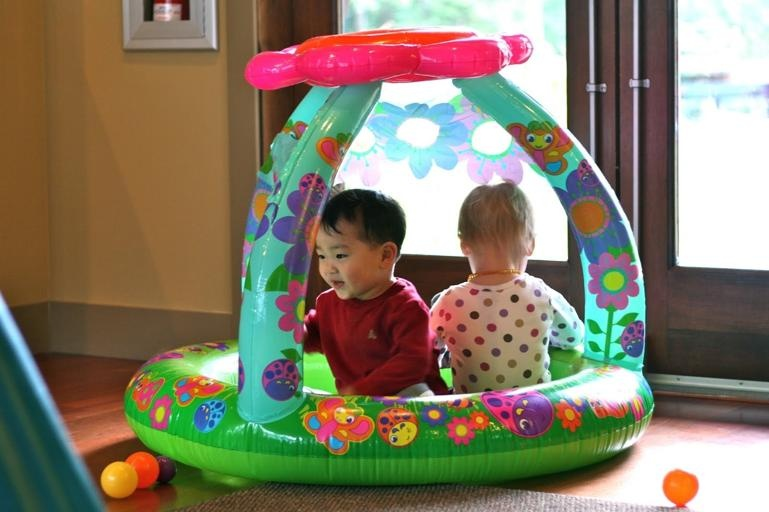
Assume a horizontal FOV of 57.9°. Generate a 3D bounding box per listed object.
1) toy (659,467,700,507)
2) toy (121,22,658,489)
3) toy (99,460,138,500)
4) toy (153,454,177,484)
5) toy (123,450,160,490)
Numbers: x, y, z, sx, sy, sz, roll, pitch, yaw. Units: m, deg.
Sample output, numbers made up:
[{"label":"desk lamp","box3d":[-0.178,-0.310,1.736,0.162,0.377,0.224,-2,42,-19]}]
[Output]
[{"label":"toy","box3d":[0.599,0.469,1.407,0.060,0.069,0.069,1,-19,-1]},{"label":"toy","box3d":[0.020,-0.039,1.822,1.090,0.891,1.082,0,0,-23]},{"label":"toy","box3d":[-0.560,0.477,1.475,0.069,0.074,0.071,0,24,0]},{"label":"toy","box3d":[-0.485,0.479,1.544,0.046,0.051,0.056,-8,19,7]},{"label":"toy","box3d":[-0.521,0.463,1.518,0.065,0.083,0.068,-4,-7,-8]}]
